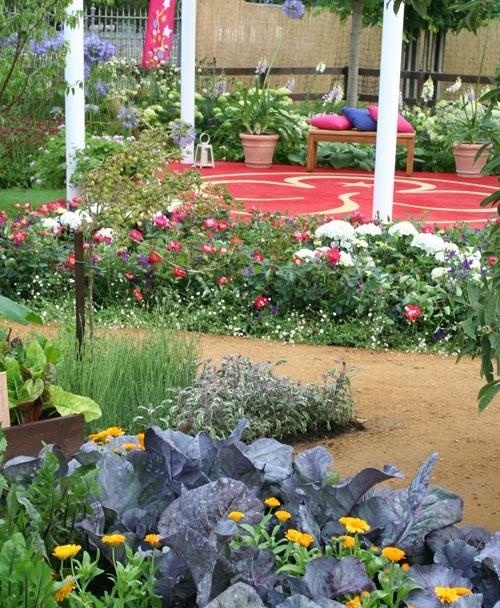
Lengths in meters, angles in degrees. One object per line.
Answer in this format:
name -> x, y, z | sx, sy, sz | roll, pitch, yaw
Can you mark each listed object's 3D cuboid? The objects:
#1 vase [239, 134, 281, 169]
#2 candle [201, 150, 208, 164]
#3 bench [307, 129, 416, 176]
vase -> 0.145, -2.561, 12.939 | 0.601, 0.437, 0.586 | 1, 6, 4
candle -> -0.734, -2.400, 12.646 | 0.087, 0.282, 0.249 | 1, 6, -6
bench -> 1.755, -2.424, 12.342 | 1.853, 0.726, 1.573 | 3, 7, 18
